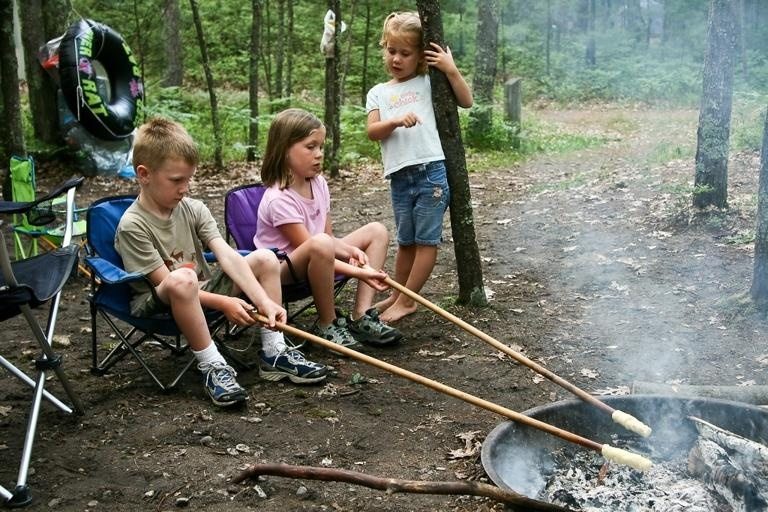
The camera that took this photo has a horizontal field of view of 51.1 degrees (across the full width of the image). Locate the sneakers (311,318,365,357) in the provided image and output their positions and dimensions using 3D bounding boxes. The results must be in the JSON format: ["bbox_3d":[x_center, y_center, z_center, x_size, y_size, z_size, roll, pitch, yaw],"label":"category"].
[{"bbox_3d":[-0.403,0.650,6.910,0.512,0.251,0.205,20,22,27],"label":"sneakers"}]

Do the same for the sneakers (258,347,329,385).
[{"bbox_3d":[-0.748,0.901,6.715,0.548,0.263,0.264,2,9,5],"label":"sneakers"}]

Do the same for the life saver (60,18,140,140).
[{"bbox_3d":[-3.838,-2.363,10.833,0.690,1.560,1.400,0,15,3],"label":"life saver"}]
